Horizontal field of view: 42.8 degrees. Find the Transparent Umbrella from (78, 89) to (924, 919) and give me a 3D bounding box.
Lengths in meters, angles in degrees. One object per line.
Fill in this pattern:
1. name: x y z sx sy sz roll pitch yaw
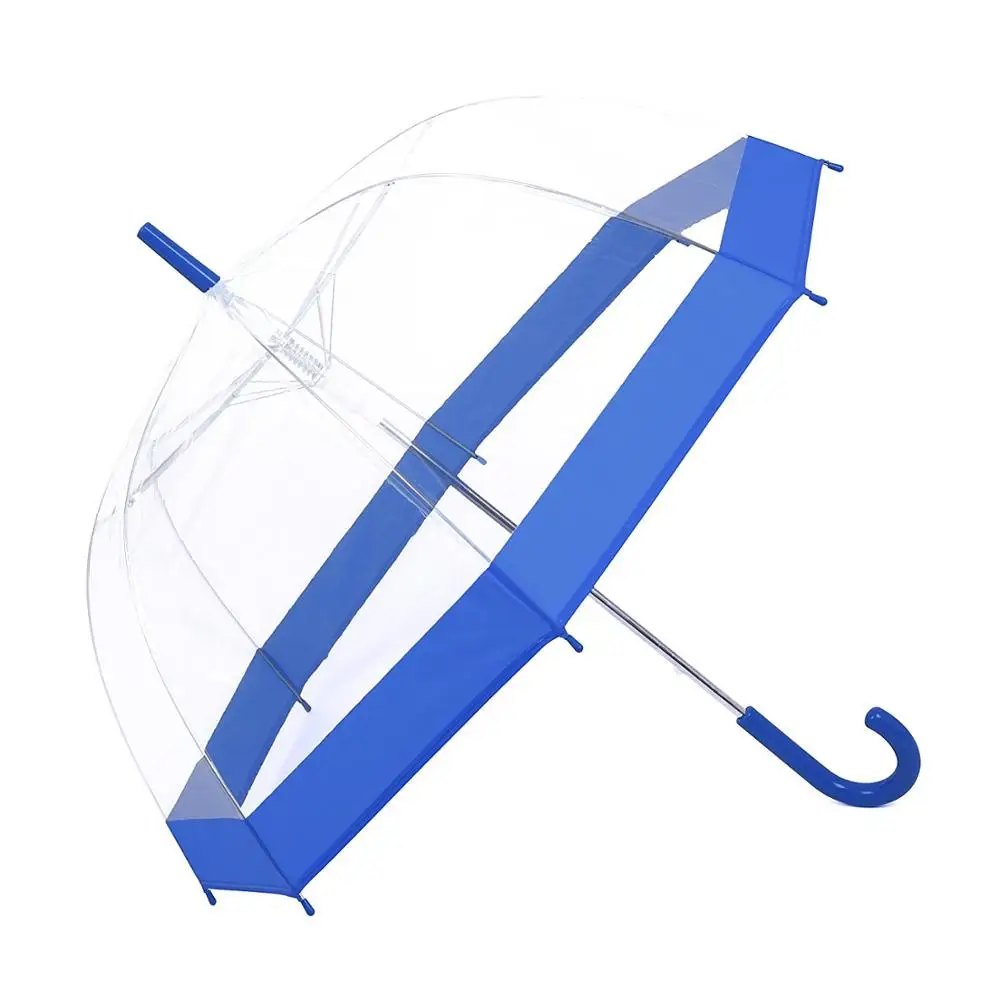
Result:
1. Transparent Umbrella: -0.098 0.175 2.634 1.328 1.167 1.416 37 -112 -1
